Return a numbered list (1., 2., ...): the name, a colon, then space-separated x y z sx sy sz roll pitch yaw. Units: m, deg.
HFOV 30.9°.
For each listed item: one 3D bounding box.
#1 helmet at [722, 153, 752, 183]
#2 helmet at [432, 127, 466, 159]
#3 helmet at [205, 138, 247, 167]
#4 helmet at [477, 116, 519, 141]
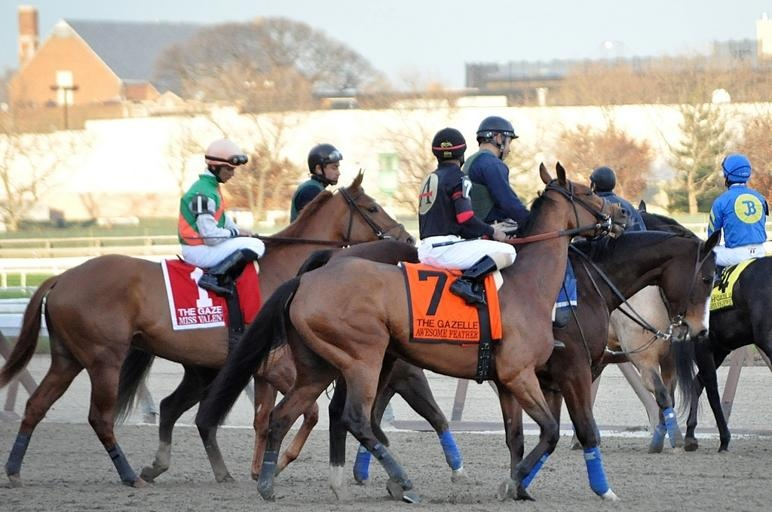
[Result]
1. helmet: 6.002 -1.503 23.849 0.426 0.447 0.529 5 52 3
2. helmet: 0.976 -1.718 21.388 0.418 0.443 0.529 0 16 9
3. helmet: -2.481 -1.630 21.901 0.579 0.286 0.395 0 8 -1
4. helmet: 1.704 -1.955 21.557 0.522 0.242 0.357 -1 2 -3
